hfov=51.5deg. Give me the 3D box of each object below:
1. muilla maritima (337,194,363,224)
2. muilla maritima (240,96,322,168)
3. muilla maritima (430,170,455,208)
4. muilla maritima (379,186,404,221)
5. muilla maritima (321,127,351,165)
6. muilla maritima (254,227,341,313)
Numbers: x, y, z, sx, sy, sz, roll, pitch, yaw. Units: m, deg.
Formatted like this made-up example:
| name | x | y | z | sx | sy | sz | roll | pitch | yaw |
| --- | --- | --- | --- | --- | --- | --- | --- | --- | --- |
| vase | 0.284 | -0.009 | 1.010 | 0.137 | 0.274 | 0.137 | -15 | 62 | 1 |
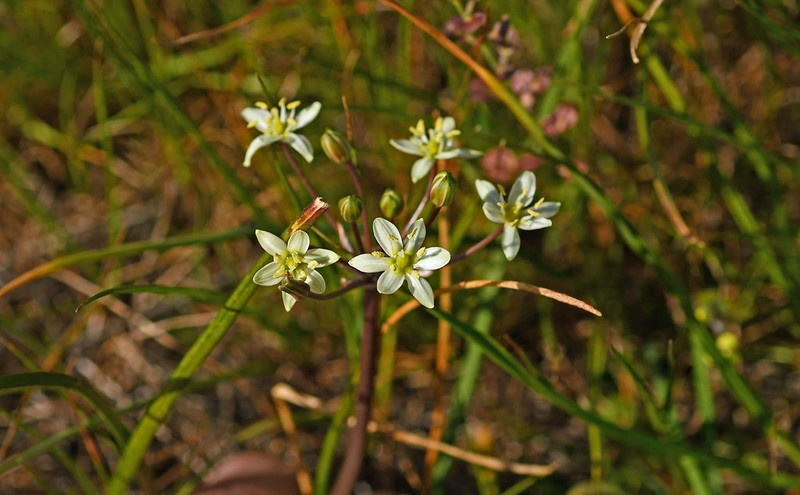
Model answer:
| name | x | y | z | sx | sy | sz | roll | pitch | yaw |
| --- | --- | --- | --- | --- | --- | --- | --- | --- | --- |
| muilla maritima | -0.331 | -0.275 | 5.790 | 0.156 | 0.158 | 0.139 | -14 | 62 | -9 |
| muilla maritima | -0.848 | -0.835 | 5.986 | 0.556 | 0.528 | 0.550 | 2 | 61 | 0 |
| muilla maritima | 0.296 | -0.414 | 5.789 | 0.144 | 0.256 | 0.170 | -6 | 23 | -24 |
| muilla maritima | -0.054 | -0.314 | 6.131 | 0.148 | 0.190 | 0.311 | 7 | 47 | -2 |
| muilla maritima | -0.448 | -0.703 | 5.868 | 0.253 | 0.232 | 0.127 | 32 | 64 | 15 |
| muilla maritima | -0.693 | 0.073 | 5.714 | 0.511 | 0.195 | 0.553 | -38 | 90 | 9 |
